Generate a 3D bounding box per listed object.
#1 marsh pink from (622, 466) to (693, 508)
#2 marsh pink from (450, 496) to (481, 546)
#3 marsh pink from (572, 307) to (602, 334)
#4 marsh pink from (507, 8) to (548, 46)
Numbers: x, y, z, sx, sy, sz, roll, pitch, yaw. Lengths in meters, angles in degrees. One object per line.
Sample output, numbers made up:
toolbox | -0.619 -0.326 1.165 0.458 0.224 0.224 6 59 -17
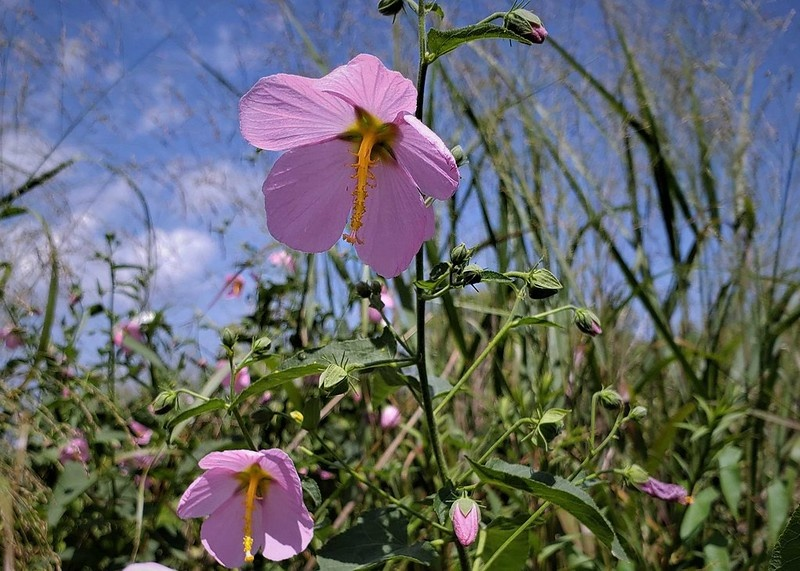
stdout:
marsh pink | 1.049 0.808 3.205 0.273 0.110 0.097 36 -26 2
marsh pink | 0.225 0.803 2.720 0.084 0.173 0.068 7 -21 -20
marsh pink | 0.708 0.132 2.986 0.100 0.094 0.079 9 -8 14
marsh pink | 0.446 -0.906 2.796 0.153 0.102 0.080 27 22 24
